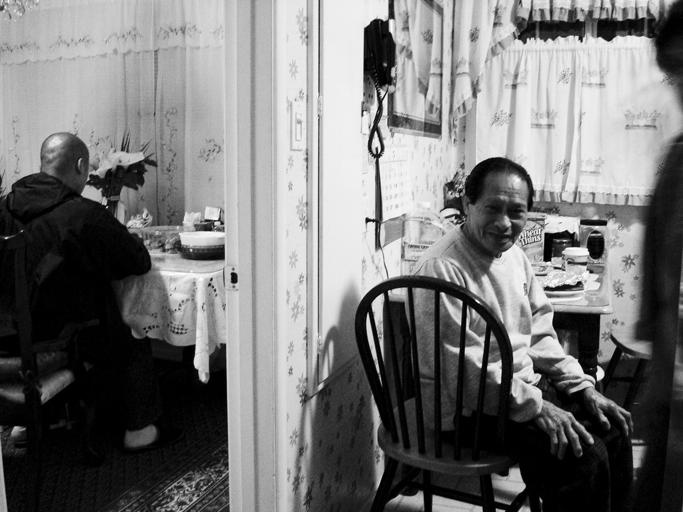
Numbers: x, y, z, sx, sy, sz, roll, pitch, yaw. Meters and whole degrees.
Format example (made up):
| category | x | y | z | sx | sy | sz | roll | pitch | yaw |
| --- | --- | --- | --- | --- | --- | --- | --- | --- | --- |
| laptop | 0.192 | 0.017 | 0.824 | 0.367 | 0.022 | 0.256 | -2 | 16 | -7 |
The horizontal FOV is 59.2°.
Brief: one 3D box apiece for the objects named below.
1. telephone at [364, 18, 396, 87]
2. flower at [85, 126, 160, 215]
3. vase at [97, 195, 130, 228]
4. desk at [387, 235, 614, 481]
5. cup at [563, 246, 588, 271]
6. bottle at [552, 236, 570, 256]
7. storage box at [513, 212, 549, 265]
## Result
| category | x | y | z | sx | sy | sz | roll | pitch | yaw |
| --- | --- | --- | --- | --- | --- | --- | --- | --- | --- |
| telephone | 0.147 | -0.760 | 2.230 | 0.058 | 0.231 | 0.157 | 5 | 20 | 18 |
| flower | -0.608 | -0.211 | 1.653 | 0.183 | 0.203 | 0.187 | -11 | 13 | -1 |
| vase | -0.795 | -0.168 | 2.132 | 0.081 | 0.152 | 0.101 | -3 | 23 | 2 |
| desk | 0.543 | 0.232 | 2.005 | 0.538 | 0.688 | 0.631 | -3 | 3 | 38 |
| cup | 1.080 | 0.016 | 2.766 | 0.096 | 0.110 | 0.105 | 3 | -4 | 0 |
| bottle | 1.136 | -0.054 | 3.113 | 0.075 | 0.138 | 0.088 | 2 | 6 | 10 |
| storage box | 1.023 | -0.113 | 3.235 | 0.139 | 0.307 | 0.183 | -1 | 16 | 16 |
